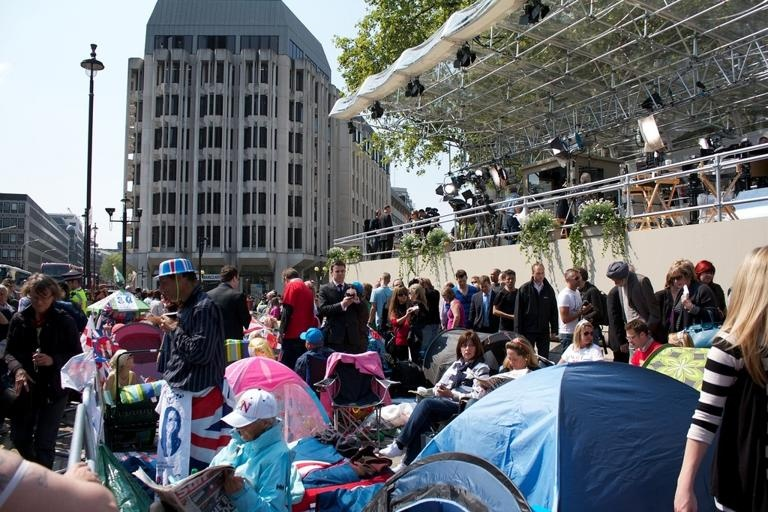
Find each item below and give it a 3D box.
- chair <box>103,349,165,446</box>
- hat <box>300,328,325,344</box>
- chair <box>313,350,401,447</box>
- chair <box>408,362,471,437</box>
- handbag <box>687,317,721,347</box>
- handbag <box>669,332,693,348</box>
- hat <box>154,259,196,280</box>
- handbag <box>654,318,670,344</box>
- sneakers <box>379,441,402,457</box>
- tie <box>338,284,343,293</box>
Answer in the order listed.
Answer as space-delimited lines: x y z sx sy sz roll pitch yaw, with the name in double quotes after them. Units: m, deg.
-3.531 2.198 10.783 0.744 1.438 1.248 0 1 -14 "chair"
-1.233 1.352 11.883 0.219 0.201 0.325 -7 18 -39 "hat"
-0.422 2.194 10.947 0.956 1.457 0.898 -1 -3 -4 "chair"
0.838 2.168 10.674 0.513 0.817 1.225 -4 17 37 "chair"
4.383 1.074 9.834 0.389 0.438 0.202 -11 -19 34 "handbag"
4.395 1.270 10.615 0.097 0.216 0.199 -2 0 -18 "handbag"
-2.549 0.164 8.672 0.365 0.168 0.302 -1 -6 -14 "hat"
4.511 1.257 11.684 0.257 0.418 0.104 4 -7 -26 "handbag"
0.147 2.867 10.566 0.165 0.238 0.476 -6 -16 45 "sneakers"
-0.806 0.601 12.889 0.073 0.128 0.026 2 -6 -23 "tie"
